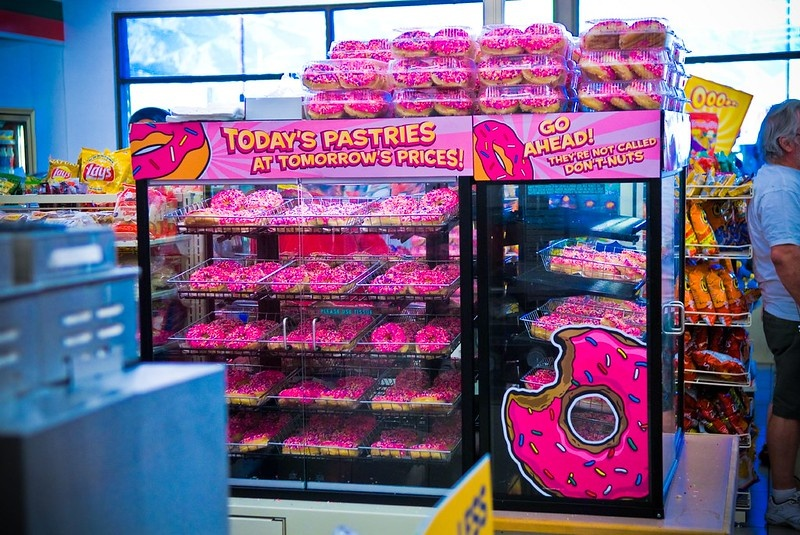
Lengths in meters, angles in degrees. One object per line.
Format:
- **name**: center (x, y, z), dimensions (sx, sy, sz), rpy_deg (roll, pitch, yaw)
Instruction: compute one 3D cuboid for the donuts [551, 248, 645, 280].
- **donuts**: center (1.035, -0.025, 4.027), dimensions (0.341, 0.075, 0.205), rpy_deg (9, 16, 28)
